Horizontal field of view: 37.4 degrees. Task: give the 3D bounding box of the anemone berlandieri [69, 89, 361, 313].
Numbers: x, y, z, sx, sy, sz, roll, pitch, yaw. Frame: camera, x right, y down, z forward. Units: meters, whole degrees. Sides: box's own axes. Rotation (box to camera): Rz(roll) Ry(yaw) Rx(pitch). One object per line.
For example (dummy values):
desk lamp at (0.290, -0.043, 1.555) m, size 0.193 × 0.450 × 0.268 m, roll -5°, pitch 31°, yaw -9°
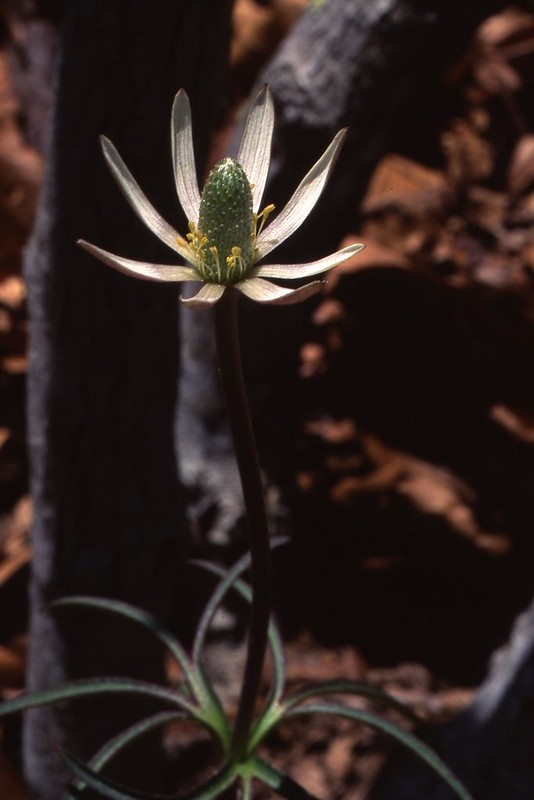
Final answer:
anemone berlandieri at (-0.023, -0.113, 0.505) m, size 0.170 × 0.078 × 0.173 m, roll 19°, pitch 43°, yaw 20°
